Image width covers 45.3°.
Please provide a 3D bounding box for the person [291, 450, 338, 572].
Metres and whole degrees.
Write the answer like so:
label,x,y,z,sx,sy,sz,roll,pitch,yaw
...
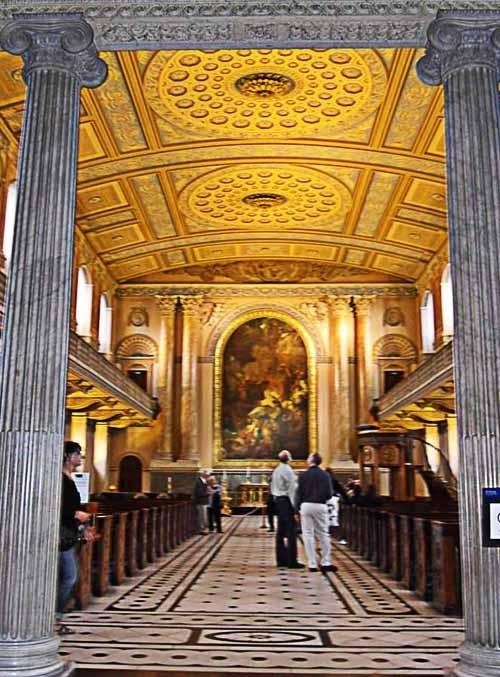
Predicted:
label,x,y,z,sx,sy,sz,roll,pitch,yaw
person,0.920,2.460,8.108,0.483,1.414,0.929,-6,-15,6
